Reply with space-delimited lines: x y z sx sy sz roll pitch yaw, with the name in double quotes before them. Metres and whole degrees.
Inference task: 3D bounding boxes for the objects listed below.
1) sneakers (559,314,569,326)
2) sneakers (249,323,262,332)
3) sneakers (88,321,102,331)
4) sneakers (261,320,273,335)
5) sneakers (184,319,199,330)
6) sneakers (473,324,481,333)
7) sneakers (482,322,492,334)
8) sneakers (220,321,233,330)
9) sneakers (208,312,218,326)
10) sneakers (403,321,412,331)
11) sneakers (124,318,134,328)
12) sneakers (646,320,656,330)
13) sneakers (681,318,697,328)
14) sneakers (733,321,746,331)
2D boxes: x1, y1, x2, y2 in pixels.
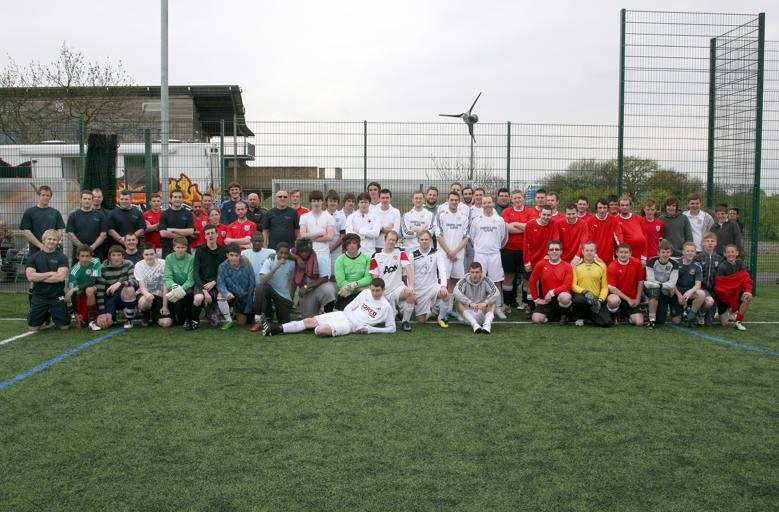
"sneakers" 2.855 1.046 11.008 0.117 0.162 0.365 -2 -5 22
"sneakers" -2.074 1.116 10.460 0.088 0.107 0.253 -5 -7 13
"sneakers" -4.551 1.079 10.398 0.254 0.123 0.088 8 9 42
"sneakers" -1.861 1.076 10.187 0.100 0.085 0.241 16 42 -15
"sneakers" -3.103 1.074 10.551 0.226 0.138 0.218 -6 16 -22
"sneakers" 1.343 1.115 10.321 0.118 0.128 0.093 0 14 -2
"sneakers" 1.486 1.103 10.395 0.133 0.149 0.282 3 15 9
"sneakers" -2.578 1.062 10.616 0.190 0.115 0.343 -3 16 -12
"sneakers" -2.783 1.008 10.711 0.167 0.203 0.172 -8 16 -29
"sneakers" 0.267 1.099 10.554 0.095 0.117 0.279 1 -5 -2
"sneakers" -4.097 1.057 10.564 0.107 0.088 0.208 2 9 -12
"sneakers" 4.160 1.100 10.692 0.073 0.111 0.228 -1 -15 18
"sneakers" 4.852 1.082 10.916 0.282 0.135 0.100 -7 1 31
"sneakers" 5.576 1.108 10.728 0.082 0.107 0.252 -3 1 7
